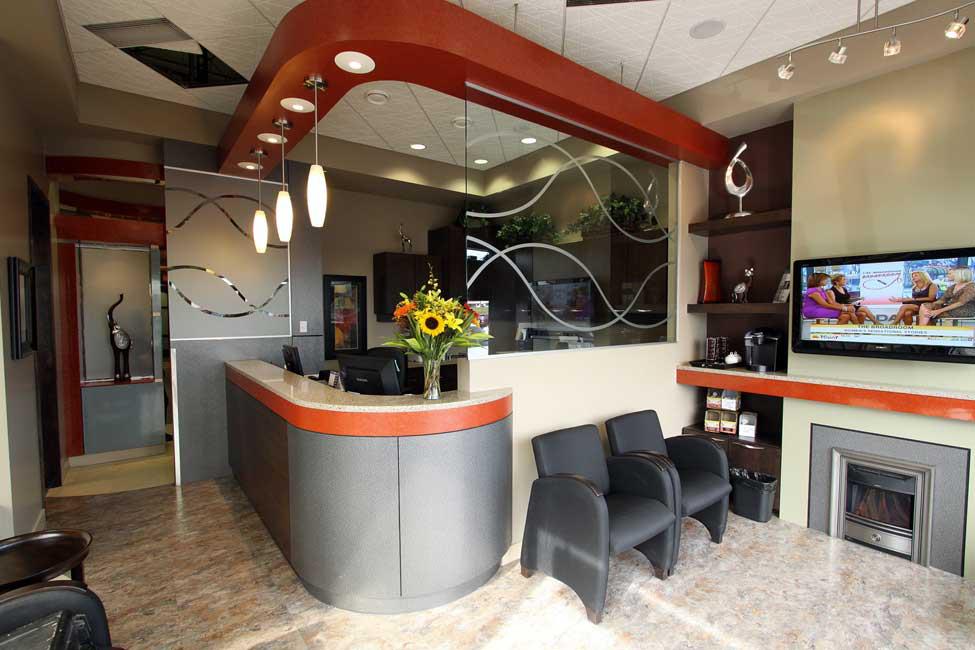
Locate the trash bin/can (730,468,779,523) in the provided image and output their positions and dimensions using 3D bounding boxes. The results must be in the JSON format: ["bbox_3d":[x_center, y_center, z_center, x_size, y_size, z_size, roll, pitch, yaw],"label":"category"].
[{"bbox_3d":[2.572,1.661,6.187,0.477,0.390,0.311,5,5,40],"label":"trash bin/can"}]

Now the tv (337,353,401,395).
[{"bbox_3d":[-1.030,0.431,5.484,0.347,0.334,0.126,-1,6,26],"label":"tv"}]

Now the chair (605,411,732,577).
[{"bbox_3d":[1.633,1.460,5.846,0.930,1.090,0.961,-6,9,-29],"label":"chair"}]

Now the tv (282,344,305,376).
[{"bbox_3d":[-1.962,0.348,6.373,0.043,0.301,0.310,-14,13,-34],"label":"tv"}]

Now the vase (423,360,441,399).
[{"bbox_3d":[-0.448,0.431,5.123,0.142,0.318,0.103,-4,3,-5],"label":"vase"}]

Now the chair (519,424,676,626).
[{"bbox_3d":[0.897,1.586,5.303,0.971,1.377,0.936,-6,3,-42],"label":"chair"}]

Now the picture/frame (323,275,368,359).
[{"bbox_3d":[-1.874,-0.135,8.400,0.167,1.096,0.668,-1,4,43],"label":"picture/frame"}]

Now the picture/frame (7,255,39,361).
[{"bbox_3d":[-3.965,-0.146,5.420,0.082,1.013,0.951,-2,3,-23],"label":"picture/frame"}]

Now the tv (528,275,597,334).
[{"bbox_3d":[0.756,-0.183,6.086,0.728,0.597,0.240,1,-2,41],"label":"tv"}]
